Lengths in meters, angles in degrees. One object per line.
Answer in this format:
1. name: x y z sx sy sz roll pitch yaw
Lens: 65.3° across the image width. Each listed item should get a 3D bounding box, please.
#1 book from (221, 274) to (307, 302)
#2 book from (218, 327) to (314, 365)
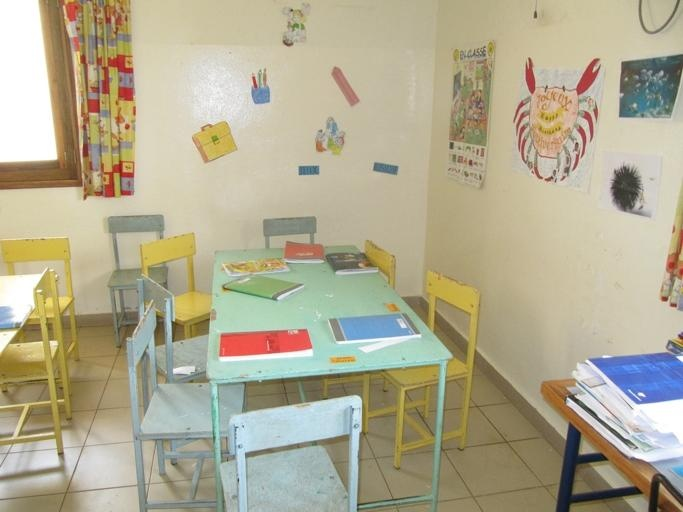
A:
1. book: -0.459 0.186 3.093 0.372 0.041 0.205 5 18 44
2. book: -0.352 0.412 2.487 0.294 0.050 0.183 -1 29 -8
